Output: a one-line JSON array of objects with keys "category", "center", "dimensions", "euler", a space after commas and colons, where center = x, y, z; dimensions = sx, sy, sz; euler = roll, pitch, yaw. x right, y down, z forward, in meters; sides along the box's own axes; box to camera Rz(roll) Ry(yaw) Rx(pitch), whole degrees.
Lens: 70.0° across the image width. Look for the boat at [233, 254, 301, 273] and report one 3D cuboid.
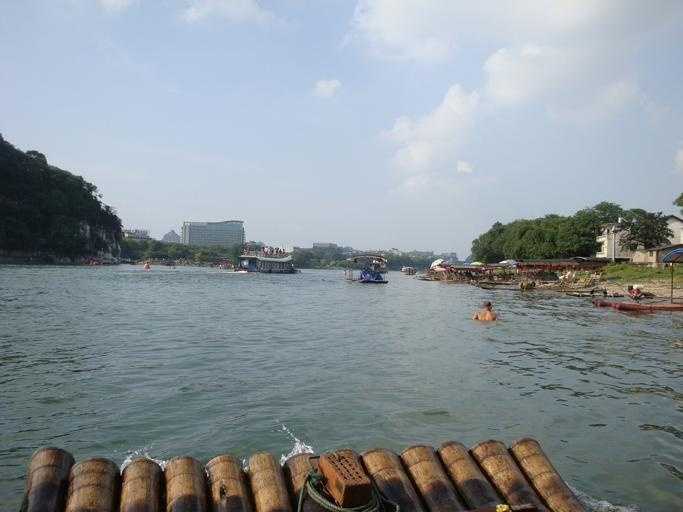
[{"category": "boat", "center": [-16.205, 2.010, 109.820], "dimensions": [8.882, 3.209, 6.149], "euler": [-1, 3, -29]}]
